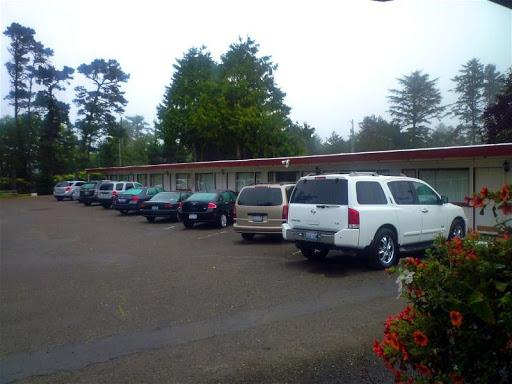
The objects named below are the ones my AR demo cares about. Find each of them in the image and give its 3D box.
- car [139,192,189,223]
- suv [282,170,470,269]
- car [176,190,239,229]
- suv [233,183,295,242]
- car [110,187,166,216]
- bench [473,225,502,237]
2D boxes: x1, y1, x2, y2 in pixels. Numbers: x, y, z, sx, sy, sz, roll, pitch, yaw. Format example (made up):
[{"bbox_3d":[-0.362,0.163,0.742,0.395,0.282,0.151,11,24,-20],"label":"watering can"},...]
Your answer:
[{"bbox_3d":[-4.382,0.744,19.564,1.113,0.925,2.608,1,4,16],"label":"car"},{"bbox_3d":[2.905,0.632,10.053,4.199,2.215,1.487,-2,3,-27],"label":"suv"},{"bbox_3d":[-1.717,0.661,17.627,1.207,1.111,2.784,0,3,19],"label":"car"},{"bbox_3d":[0.156,0.546,13.111,1.142,1.192,2.263,0,4,19],"label":"suv"},{"bbox_3d":[-6.704,0.412,24.407,1.415,1.185,3.367,-1,5,18],"label":"car"},{"bbox_3d":[8.046,1.285,14.237,0.705,0.389,1.743,1,4,29],"label":"bench"}]
